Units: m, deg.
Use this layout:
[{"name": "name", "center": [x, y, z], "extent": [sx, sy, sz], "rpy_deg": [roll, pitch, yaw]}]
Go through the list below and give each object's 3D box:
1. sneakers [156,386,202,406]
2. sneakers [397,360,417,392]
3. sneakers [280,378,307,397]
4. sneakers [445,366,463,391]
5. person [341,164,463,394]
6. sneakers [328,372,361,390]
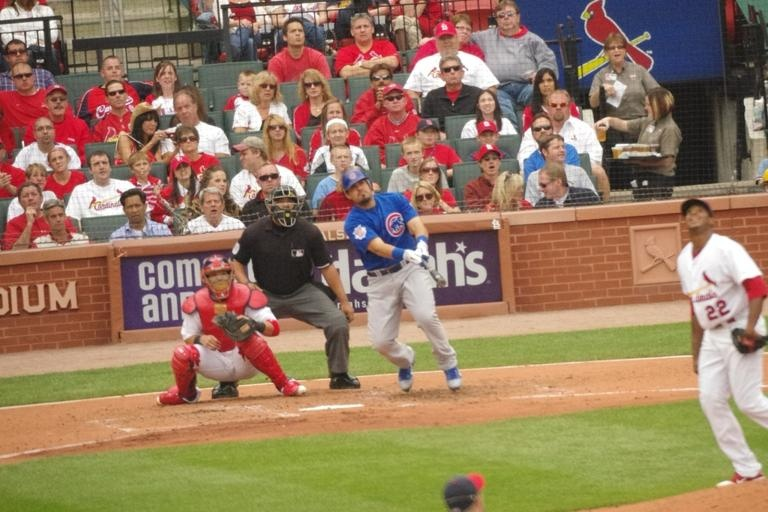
[{"name": "sneakers", "center": [-3.016, 2.063, 19.991], "extent": [0.547, 0.211, 0.265], "rpy_deg": [5, -3, -10]}, {"name": "sneakers", "center": [0.326, 1.775, 19.903], "extent": [0.164, 0.422, 0.204], "rpy_deg": [-2, 6, 24]}, {"name": "sneakers", "center": [-1.359, 1.964, 20.097], "extent": [0.213, 0.160, 0.373], "rpy_deg": [-2, -8, -33]}, {"name": "sneakers", "center": [0.996, 1.768, 19.745], "extent": [0.165, 0.193, 0.422], "rpy_deg": [-14, 28, 3]}, {"name": "person", "center": [0.212, 0.355, 19.654], "extent": [1.421, 3.332, 0.732], "rpy_deg": [-4, 6, 8]}, {"name": "sneakers", "center": [-0.571, 1.876, 20.315], "extent": [0.420, 0.236, 0.218], "rpy_deg": [-2, 2, -7]}]
